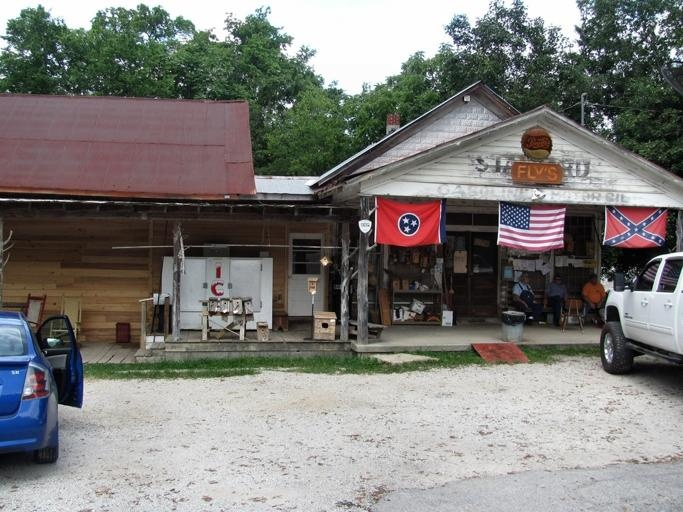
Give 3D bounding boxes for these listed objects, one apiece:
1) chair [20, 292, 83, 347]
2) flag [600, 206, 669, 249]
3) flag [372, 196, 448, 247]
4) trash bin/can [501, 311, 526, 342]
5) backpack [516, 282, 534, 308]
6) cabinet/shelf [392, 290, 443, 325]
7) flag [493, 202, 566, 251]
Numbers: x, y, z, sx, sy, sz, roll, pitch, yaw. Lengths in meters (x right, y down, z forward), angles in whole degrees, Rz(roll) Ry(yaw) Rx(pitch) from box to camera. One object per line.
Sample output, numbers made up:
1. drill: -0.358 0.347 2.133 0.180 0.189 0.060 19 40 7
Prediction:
1. chair: -6.839 1.465 15.206 1.013 1.701 1.096 1 -3 -27
2. flag: 6.892 -0.697 14.865 1.674 0.944 0.319 -1 6 -14
3. flag: 1.499 -0.778 13.841 1.251 0.880 0.085 0 3 -9
4. trash bin/can: 4.067 1.641 14.886 0.641 0.700 0.600 0 1 -12
5. backpack: 4.957 1.083 17.161 0.635 0.604 0.337 6 -11 -41
6. cabinet/shelf: 1.873 1.413 17.736 0.767 0.999 1.468 7 -1 26
7. flag: 4.342 -0.707 14.494 1.290 0.890 0.099 2 3 -8
